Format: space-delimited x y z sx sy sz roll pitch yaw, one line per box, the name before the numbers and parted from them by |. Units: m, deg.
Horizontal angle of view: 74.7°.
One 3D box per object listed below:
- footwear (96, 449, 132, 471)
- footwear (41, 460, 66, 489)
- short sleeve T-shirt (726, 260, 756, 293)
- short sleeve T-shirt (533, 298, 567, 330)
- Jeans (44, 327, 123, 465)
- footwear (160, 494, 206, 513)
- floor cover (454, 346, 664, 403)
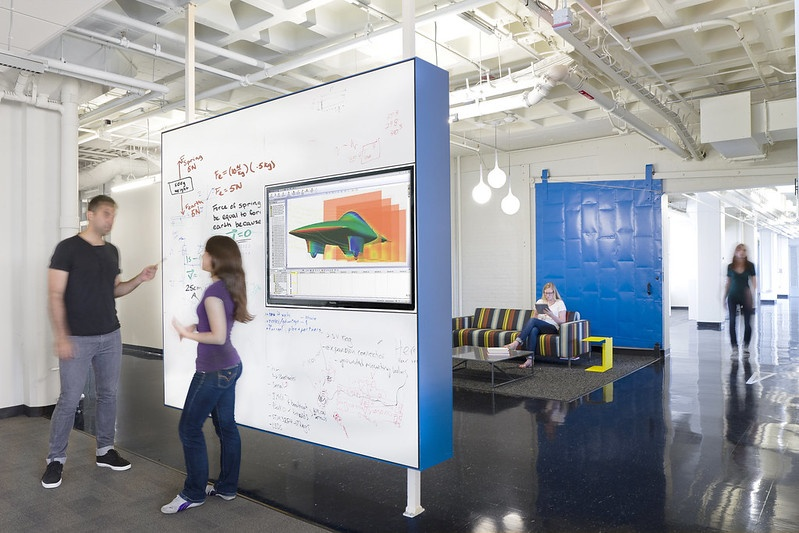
footwear | -2.783 1.873 5.140 0.378 0.158 0.150 2 -1 15
footwear | -3.198 1.880 4.792 0.167 0.202 0.219 -2 4 -35
short sleeve T-shirt | 6.191 0.204 9.469 0.507 0.600 0.315 3 9 44
short sleeve T-shirt | 2.636 0.838 9.141 0.312 0.488 0.308 33 -32 -23
Jeans | -3.073 1.217 5.079 0.593 1.307 0.345 4 -9 -41
footwear | -1.850 1.984 4.447 0.369 0.151 0.132 3 -6 -21
floor cover | 2.634 1.682 9.041 2.510 0.183 4.617 3 5 42
